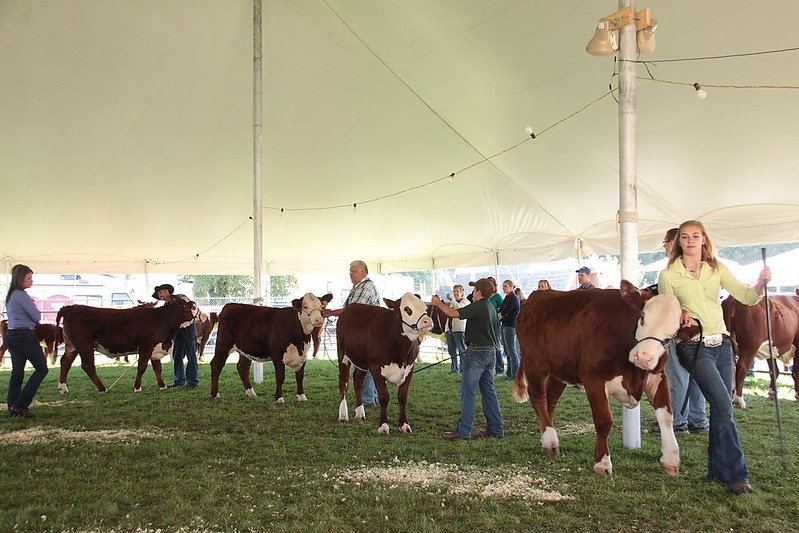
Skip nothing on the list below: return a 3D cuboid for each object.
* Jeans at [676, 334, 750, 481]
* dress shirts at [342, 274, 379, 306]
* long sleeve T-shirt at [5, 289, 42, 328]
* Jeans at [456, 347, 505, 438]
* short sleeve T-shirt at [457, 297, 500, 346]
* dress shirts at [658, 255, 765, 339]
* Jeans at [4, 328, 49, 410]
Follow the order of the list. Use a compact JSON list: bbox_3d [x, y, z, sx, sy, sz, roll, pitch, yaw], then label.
[{"bbox_3d":[3.656,1.677,7.564,0.748,1.700,0.357,2,5,27],"label":"Jeans"},{"bbox_3d":[-0.662,0.519,11.047,0.435,0.584,0.751,9,-14,-25],"label":"dress shirts"},{"bbox_3d":[-5.846,0.677,10.027,0.437,0.613,0.294,-2,5,-25],"label":"long sleeve T-shirt"},{"bbox_3d":[1.162,1.812,9.447,0.677,1.302,0.543,0,4,8],"label":"Jeans"},{"bbox_3d":[1.148,0.874,9.661,0.567,0.744,0.938,2,-8,22],"label":"short sleeve T-shirt"},{"bbox_3d":[3.650,0.423,7.651,1.157,0.669,0.763,18,-17,-28],"label":"dress shirts"},{"bbox_3d":[-5.852,1.646,10.135,0.529,1.383,0.719,-3,5,-32],"label":"Jeans"}]
